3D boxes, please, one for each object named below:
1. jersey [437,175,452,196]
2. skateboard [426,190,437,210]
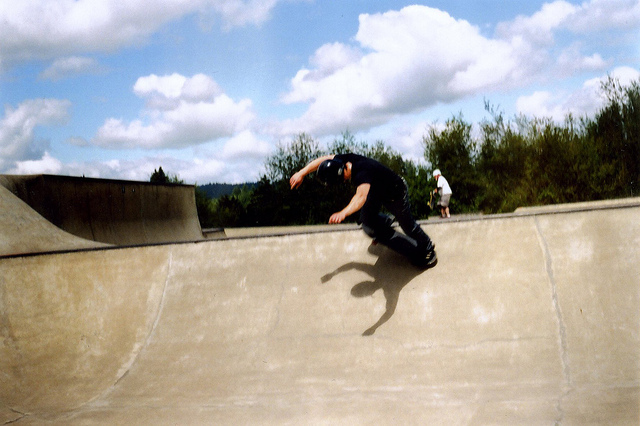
[{"bbox_3d":[3.136,-0.733,23.580,0.267,0.503,0.438,-11,13,7],"label":"jersey"},{"bbox_3d":[3.357,-0.445,28.092,0.128,0.462,0.471,15,52,4],"label":"skateboard"}]
